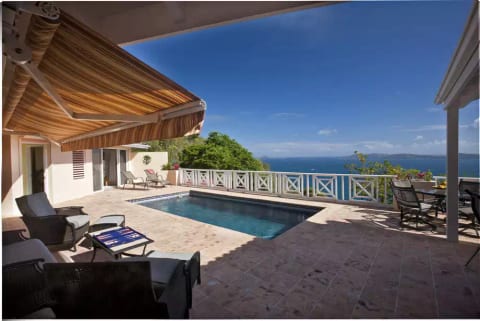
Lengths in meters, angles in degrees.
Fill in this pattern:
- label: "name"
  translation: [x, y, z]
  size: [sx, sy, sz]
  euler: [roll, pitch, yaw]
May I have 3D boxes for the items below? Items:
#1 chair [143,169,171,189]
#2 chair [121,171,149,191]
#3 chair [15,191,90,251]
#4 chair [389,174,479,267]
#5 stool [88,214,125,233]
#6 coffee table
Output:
- label: "chair"
  translation: [-4.920, 1.064, 15.251]
  size: [2.032, 1.099, 1.106]
  euler: [1, 2, 43]
- label: "chair"
  translation: [-6.408, 1.200, 15.679]
  size: [2.373, 0.932, 1.138]
  euler: [3, 3, 31]
- label: "chair"
  translation: [-4.416, 1.364, 6.199]
  size: [1.413, 1.012, 0.971]
  euler: [7, 4, -6]
- label: "chair"
  translation: [4.603, 1.170, 6.771]
  size: [2.394, 1.330, 1.183]
  euler: [-2, 1, -20]
- label: "stool"
  translation: [-3.078, 1.444, 6.055]
  size: [0.429, 0.258, 0.568]
  euler: [2, 3, -4]
- label: "coffee table"
  translation: [-2.310, 1.648, 4.941]
  size: [0.700, 0.451, 0.864]
  euler: [18, 13, 30]
